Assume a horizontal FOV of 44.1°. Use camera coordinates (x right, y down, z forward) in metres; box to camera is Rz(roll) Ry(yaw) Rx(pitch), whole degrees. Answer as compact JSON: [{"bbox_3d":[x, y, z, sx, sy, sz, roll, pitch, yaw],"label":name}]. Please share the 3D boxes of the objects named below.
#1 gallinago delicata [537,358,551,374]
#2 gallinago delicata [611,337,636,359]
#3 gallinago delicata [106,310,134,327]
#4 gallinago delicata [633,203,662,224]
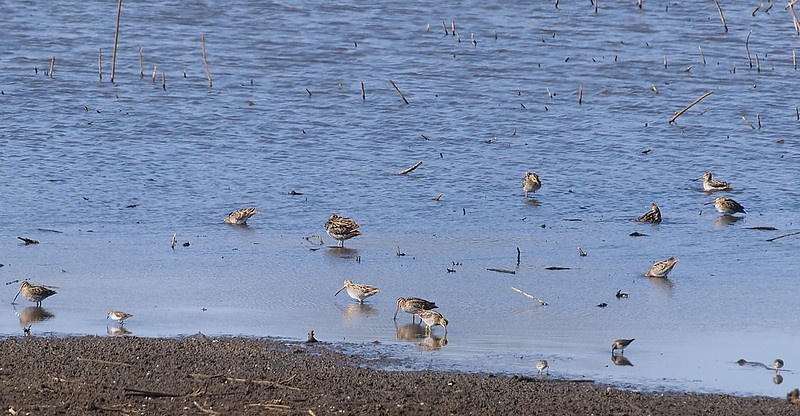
[{"bbox_3d":[5.683,6.289,39.418,0.401,0.487,0.791,4,5,29],"label":"gallinago delicata"},{"bbox_3d":[9.129,5.689,40.834,0.899,0.660,0.918,1,4,10],"label":"gallinago delicata"},{"bbox_3d":[-11.870,4.624,41.883,0.962,0.527,0.858,0,4,-14],"label":"gallinago delicata"},{"bbox_3d":[13.905,0.267,54.988,1.257,1.055,1.807,2,4,19],"label":"gallinago delicata"}]
